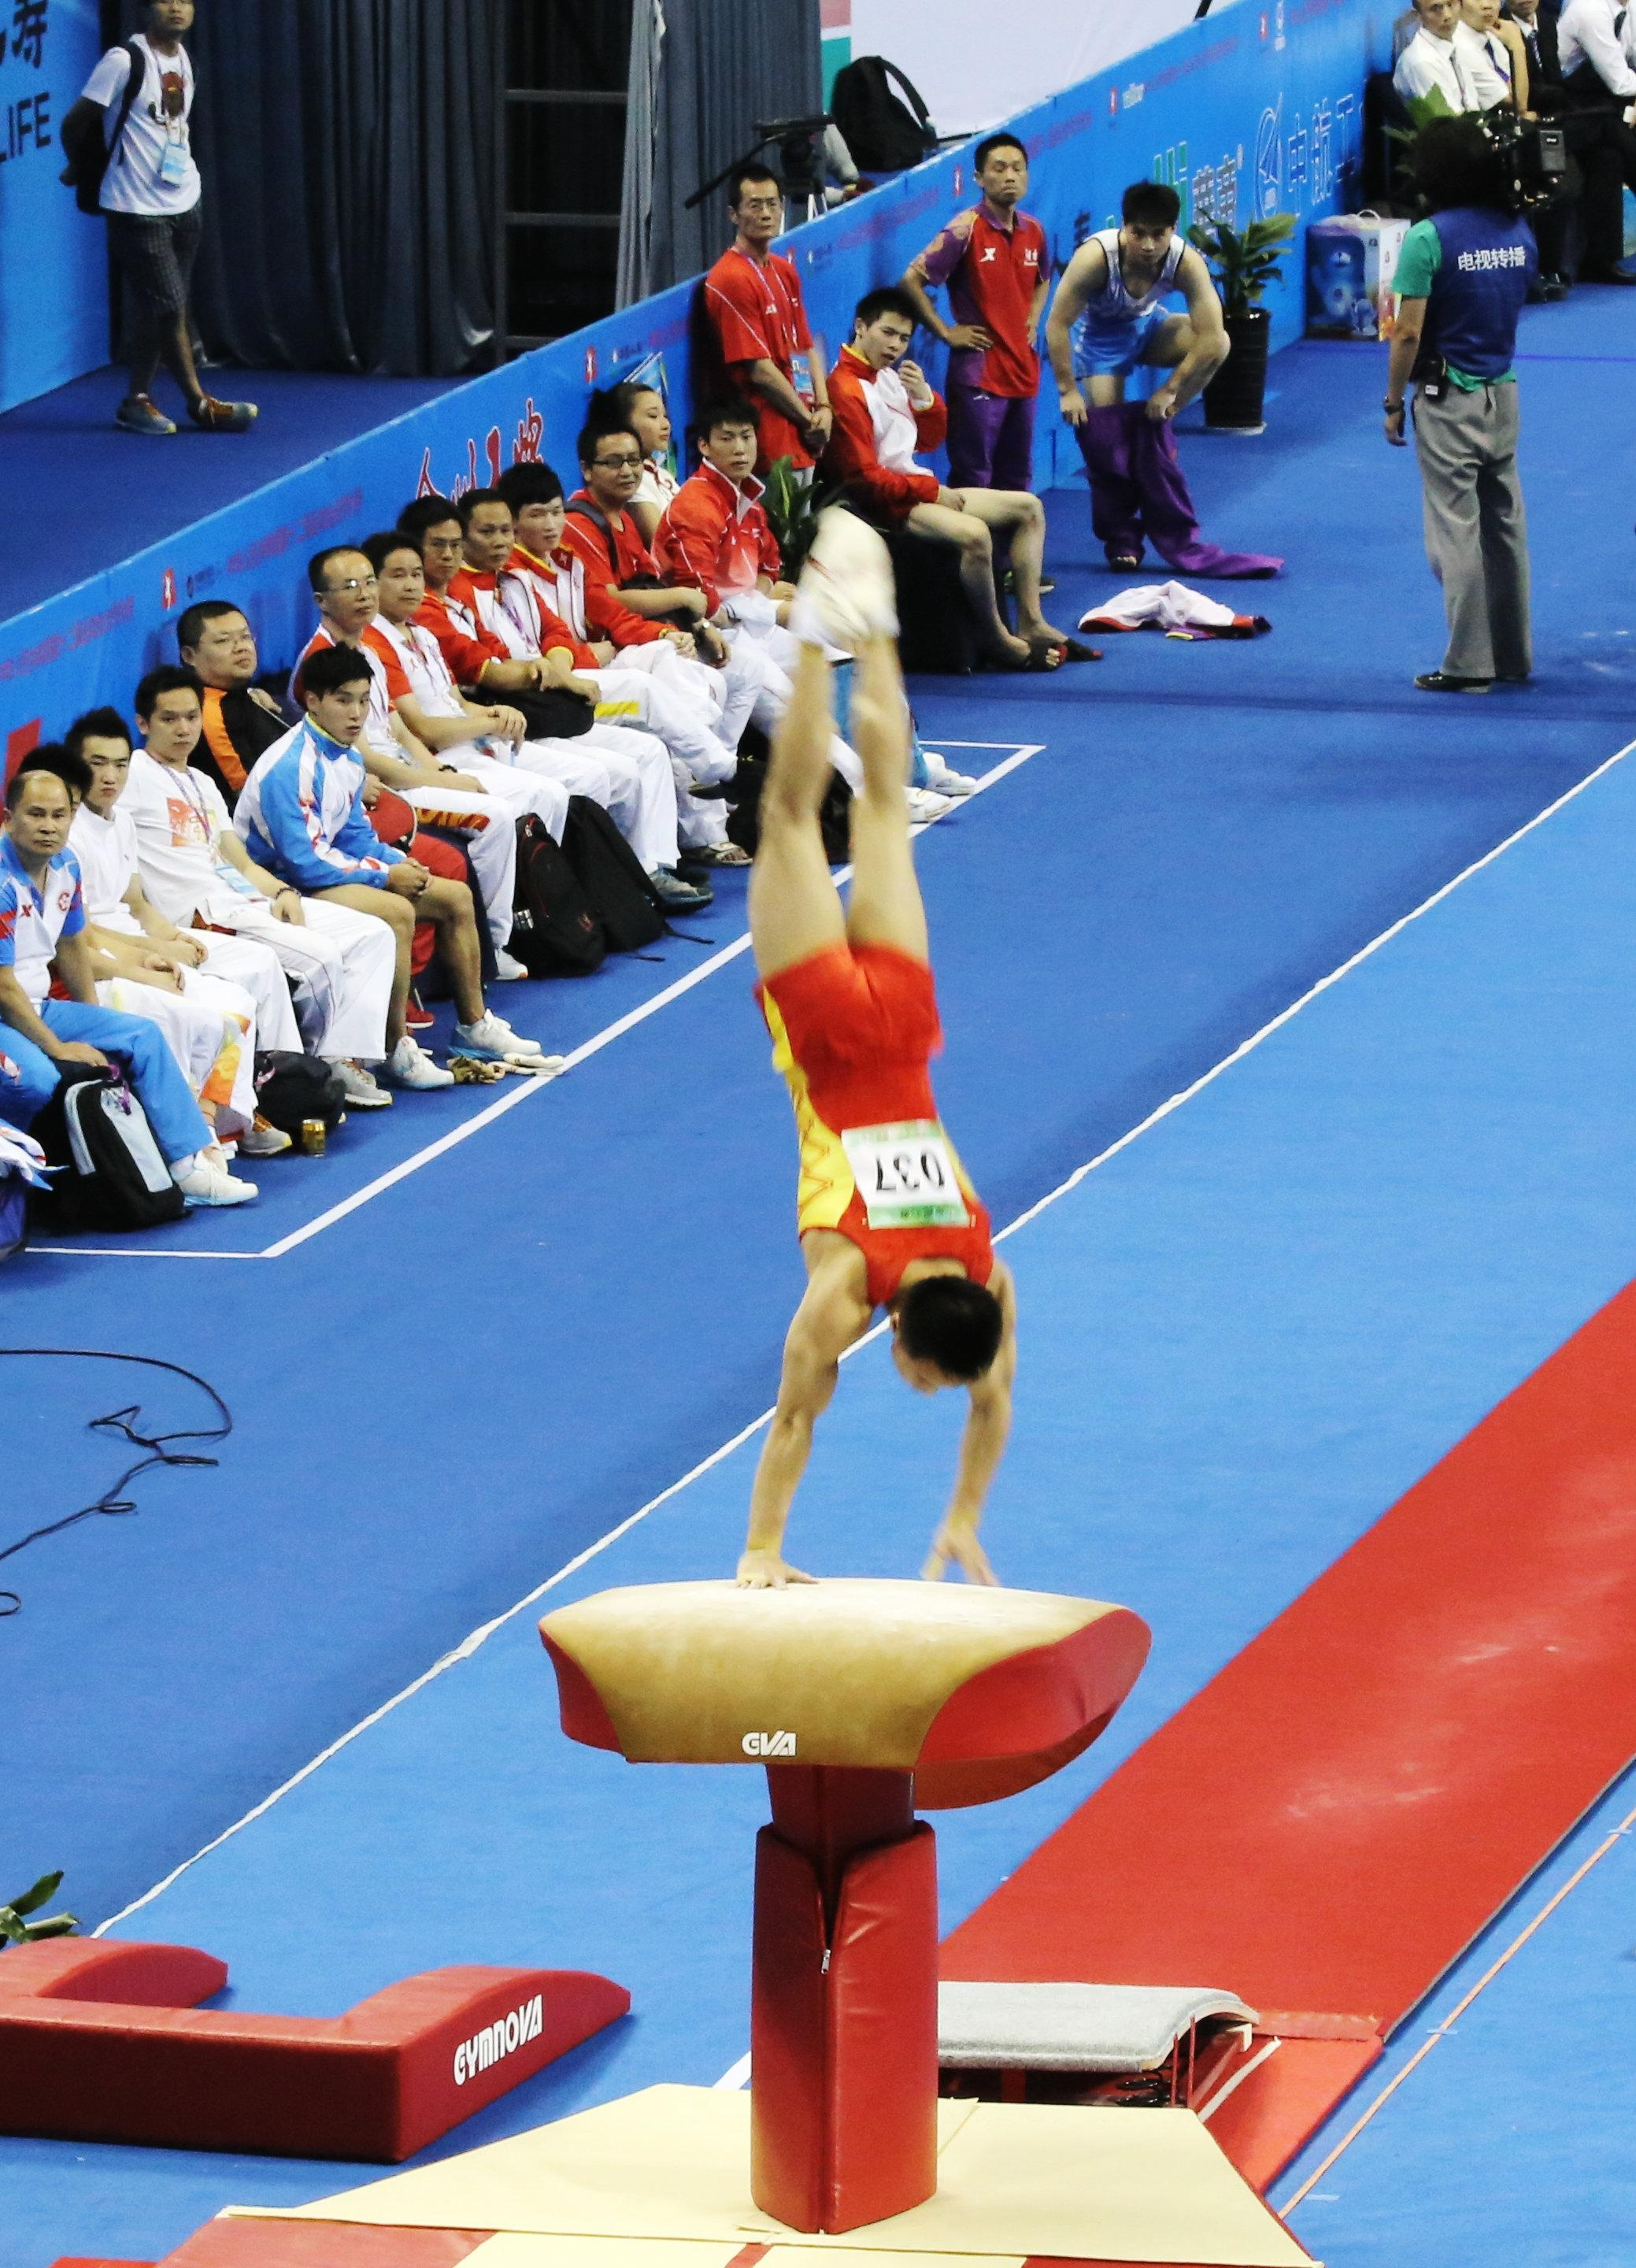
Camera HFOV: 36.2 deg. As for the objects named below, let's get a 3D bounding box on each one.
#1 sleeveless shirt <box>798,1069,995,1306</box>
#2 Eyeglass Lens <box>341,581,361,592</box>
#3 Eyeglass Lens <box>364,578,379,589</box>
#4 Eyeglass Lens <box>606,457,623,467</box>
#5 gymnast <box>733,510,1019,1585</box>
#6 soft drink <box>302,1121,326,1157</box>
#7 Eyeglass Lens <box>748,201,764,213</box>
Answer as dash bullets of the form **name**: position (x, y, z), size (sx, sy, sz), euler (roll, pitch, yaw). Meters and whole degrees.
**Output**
- **sleeveless shirt**: position (0.073, 0.065, 3.963), size (0.101, 0.297, 0.215), euler (-21, 11, 33)
- **Eyeglass Lens**: position (-1.605, -1.881, 8.608), size (0.050, 0.046, 0.013), euler (1, 56, -9)
- **Eyeglass Lens**: position (-1.548, -1.904, 8.684), size (0.040, 0.032, 0.045), euler (-3, 9, -7)
- **Eyeglass Lens**: position (-0.823, -2.730, 10.195), size (0.074, 0.059, 0.033), euler (-2, 13, -3)
- **gymnast**: position (0.209, -0.062, 3.789), size (0.527, 1.684, 0.532), euler (-3, 10, -5)
- **soft drink**: position (-1.556, 0.012, 7.749), size (0.088, 0.110, 0.079), euler (-9, 14, -31)
- **Eyeglass Lens**: position (-0.282, -4.281, 11.590), size (0.063, 0.055, 0.033), euler (-4, 4, 4)
